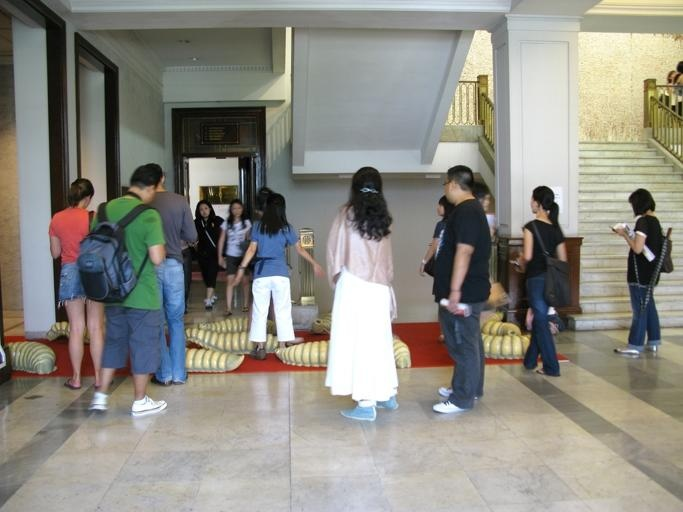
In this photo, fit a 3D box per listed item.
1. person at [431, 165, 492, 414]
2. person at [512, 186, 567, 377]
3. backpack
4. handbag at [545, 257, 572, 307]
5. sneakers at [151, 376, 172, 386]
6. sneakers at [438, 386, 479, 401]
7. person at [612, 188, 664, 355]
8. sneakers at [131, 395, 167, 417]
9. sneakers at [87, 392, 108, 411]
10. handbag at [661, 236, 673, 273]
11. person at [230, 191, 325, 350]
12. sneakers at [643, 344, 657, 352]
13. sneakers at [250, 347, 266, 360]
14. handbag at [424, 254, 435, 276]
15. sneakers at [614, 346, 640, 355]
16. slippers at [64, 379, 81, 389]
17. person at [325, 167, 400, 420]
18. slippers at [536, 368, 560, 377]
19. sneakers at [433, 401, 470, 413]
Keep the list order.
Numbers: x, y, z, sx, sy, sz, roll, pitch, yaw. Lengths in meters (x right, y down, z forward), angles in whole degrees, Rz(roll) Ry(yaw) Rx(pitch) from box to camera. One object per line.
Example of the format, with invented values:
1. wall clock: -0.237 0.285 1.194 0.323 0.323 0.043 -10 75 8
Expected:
1. person: 0.953 0.271 4.045 0.423 1.934 0.420 2 8 13
2. person: 1.865 0.254 4.775 0.396 1.750 0.303 3 9 20
3. backpack: -1.681 -0.020 3.815 0.511 0.712 0.174 -4 9 -24
4. handbag: 1.977 0.237 4.680 0.184 0.453 0.265 7 11 41
5. sneakers: -1.673 1.151 4.752 0.208 0.091 0.075 0 -2 12
6. sneakers: 1.011 1.170 4.485 0.315 0.137 0.116 16 -8 -28
7. person: 3.168 0.186 5.454 0.479 1.768 0.485 5 10 33
8. sneakers: -1.535 1.194 4.124 0.308 0.143 0.113 -1 1 -43
9. sneakers: -1.928 1.153 4.085 0.102 0.084 0.191 6 -11 -24
10. handbag: 3.449 -0.001 5.416 0.089 0.407 0.374 5 10 33
11. person: -0.701 0.213 5.305 0.745 1.719 0.728 -2 8 -12
12. sneakers: 3.420 1.002 5.666 0.058 0.069 0.173 0 4 -2
13. sneakers: -0.882 1.017 5.379 0.095 0.122 0.177 1 6 -7
14. handbag: 0.849 0.084 4.943 0.150 0.150 0.083 -22 -34 34
15. sneakers: 3.111 1.032 5.558 0.164 0.062 0.096 5 2 28
16. slippers: -2.410 1.134 4.587 0.077 0.053 0.147 0 9 -26
17. person: 0.165 0.290 3.967 0.553 1.923 0.375 1 8 5
18. slippers: 1.950 1.112 4.892 0.066 0.049 0.184 -3 -1 -19
19. sneakers: 0.879 1.200 4.119 0.279 0.114 0.103 3 -5 0
